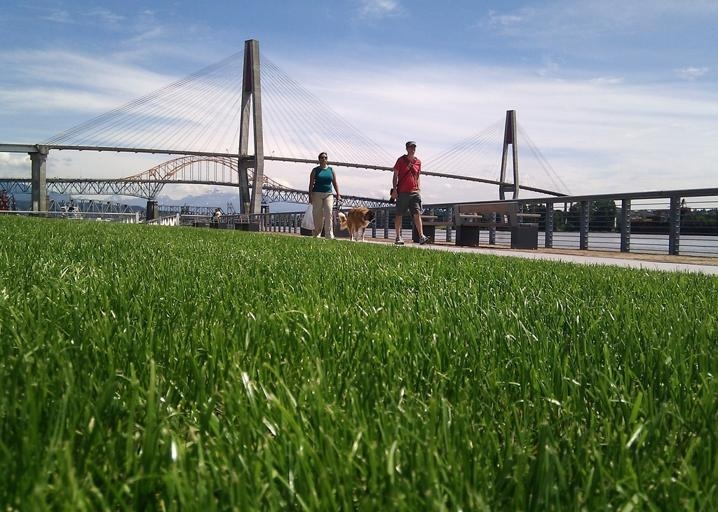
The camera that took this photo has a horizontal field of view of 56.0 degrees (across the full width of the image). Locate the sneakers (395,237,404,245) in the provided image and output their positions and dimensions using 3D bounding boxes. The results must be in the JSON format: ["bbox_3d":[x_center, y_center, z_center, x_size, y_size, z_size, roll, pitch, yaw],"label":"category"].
[{"bbox_3d":[0.664,-0.246,10.881,0.088,0.118,0.279,-1,-3,-4],"label":"sneakers"}]

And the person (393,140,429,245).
[{"bbox_3d":[0.786,-0.965,10.596,0.562,1.564,1.255,2,3,6],"label":"person"}]

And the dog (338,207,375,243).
[{"bbox_3d":[-0.090,-0.595,12.572,0.305,0.642,0.983,5,-7,-37],"label":"dog"}]

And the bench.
[{"bbox_3d":[2.334,-0.540,11.723,0.576,0.813,1.603,-2,3,-30],"label":"bench"}]

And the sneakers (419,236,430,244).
[{"bbox_3d":[1.092,-0.275,11.344,0.111,0.146,0.320,-3,-14,-13],"label":"sneakers"}]
